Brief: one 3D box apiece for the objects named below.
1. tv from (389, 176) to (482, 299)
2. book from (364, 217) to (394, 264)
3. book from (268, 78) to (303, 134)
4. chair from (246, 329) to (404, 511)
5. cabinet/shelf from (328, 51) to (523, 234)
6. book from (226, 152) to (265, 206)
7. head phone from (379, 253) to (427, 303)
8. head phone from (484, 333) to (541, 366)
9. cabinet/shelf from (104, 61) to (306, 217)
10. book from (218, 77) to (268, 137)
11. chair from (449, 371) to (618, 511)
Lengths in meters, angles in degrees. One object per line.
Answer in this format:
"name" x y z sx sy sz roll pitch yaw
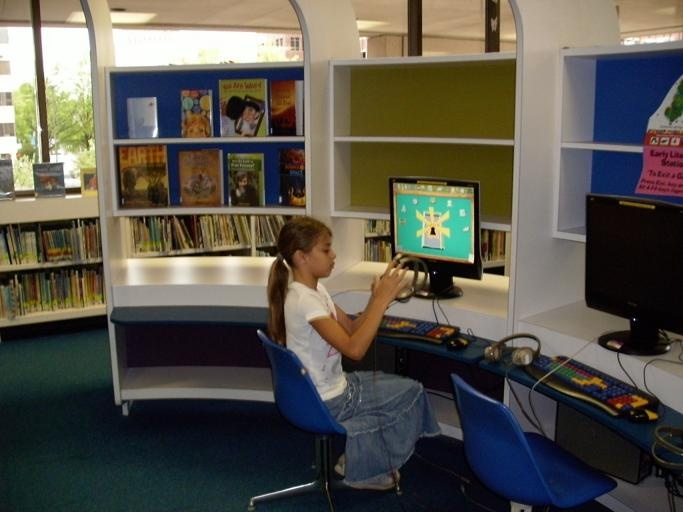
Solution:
"tv" 0.543 -0.114 3.192 0.571 0.722 0.283 4 12 33
"book" 0.343 -0.166 5.296 0.189 0.670 0.350 -4 6 -26
"book" -0.360 -0.969 3.576 0.300 0.466 0.046 4 12 18
"chair" -0.140 0.678 3.129 0.808 1.169 0.954 -5 12 -17
"cabinet/shelf" 0.534 -0.724 3.401 1.044 0.991 0.350 4 6 31
"book" -0.648 -0.524 3.760 0.316 0.482 0.047 0 2 11
"head phone" 0.359 0.137 3.197 0.216 0.270 0.218 -11 22 -32
"head phone" 0.875 0.453 2.733 0.240 0.107 0.232 5 35 20
"cabinet/shelf" -0.921 -0.805 3.709 0.954 0.785 0.337 0 4 2
"book" -0.648 -0.983 3.655 0.350 0.455 0.060 1 1 8
"chair" 0.783 0.812 2.290 0.584 0.661 0.390 -7 14 -22
